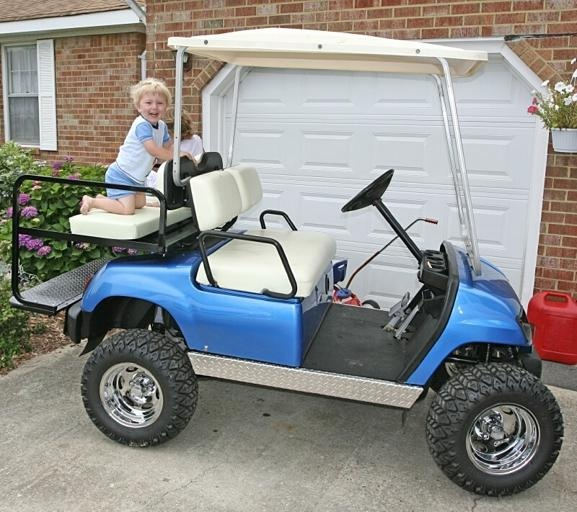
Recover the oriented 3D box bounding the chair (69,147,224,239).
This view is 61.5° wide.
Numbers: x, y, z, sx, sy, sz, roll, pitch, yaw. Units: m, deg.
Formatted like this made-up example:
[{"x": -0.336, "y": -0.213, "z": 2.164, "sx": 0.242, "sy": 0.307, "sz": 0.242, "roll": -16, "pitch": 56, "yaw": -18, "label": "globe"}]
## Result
[{"x": -0.818, "y": -0.447, "z": 2.780, "sx": 0.692, "sy": 0.414, "sz": 0.888, "roll": 10, "pitch": 22, "yaw": 23, "label": "chair"}]
